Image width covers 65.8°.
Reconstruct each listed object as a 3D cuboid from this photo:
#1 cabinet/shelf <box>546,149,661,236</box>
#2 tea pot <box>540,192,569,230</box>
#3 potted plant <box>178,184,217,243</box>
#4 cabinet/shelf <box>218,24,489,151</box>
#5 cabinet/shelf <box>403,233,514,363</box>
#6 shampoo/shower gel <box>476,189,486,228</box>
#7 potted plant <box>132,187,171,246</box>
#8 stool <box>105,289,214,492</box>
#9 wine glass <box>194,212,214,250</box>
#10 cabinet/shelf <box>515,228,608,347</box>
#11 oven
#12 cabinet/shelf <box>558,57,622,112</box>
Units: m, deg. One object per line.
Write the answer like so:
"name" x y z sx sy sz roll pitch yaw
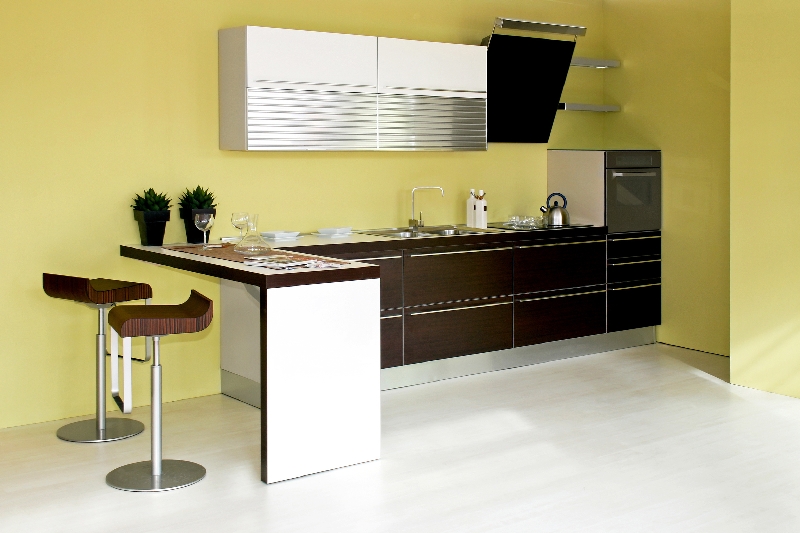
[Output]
"cabinet/shelf" 2.110 -0.767 6.430 0.980 0.807 0.318 -1 1 -21
"tea pot" 1.615 -0.591 6.472 0.267 0.412 0.415 6 8 36
"potted plant" -1.644 -0.442 5.023 0.309 0.425 0.298 0 3 15
"cabinet/shelf" -0.311 -1.548 5.618 2.553 0.955 0.433 -8 15 -34
"cabinet/shelf" 0.711 0.282 5.784 1.268 1.058 0.452 -9 -14 39
"shampoo/shower gel" 0.799 -0.565 6.115 0.089 0.353 0.212 1 10 7
"potted plant" -1.948 -0.383 4.818 0.267 0.437 0.127 -1 10 -5
"stool" -1.512 0.748 3.838 0.662 1.112 0.543 -5 11 -27
"wine glass" -1.535 -0.304 4.844 0.148 0.257 0.370 -3 10 -17
"cabinet/shelf" 1.437 0.178 6.316 1.190 1.042 0.600 -3 3 -20
"oven" 2.110 -0.770 6.433 0.979 0.812 0.317 -1 1 -21
"cabinet/shelf" 2.034 -1.953 6.749 0.760 0.687 0.180 6 -1 -26
